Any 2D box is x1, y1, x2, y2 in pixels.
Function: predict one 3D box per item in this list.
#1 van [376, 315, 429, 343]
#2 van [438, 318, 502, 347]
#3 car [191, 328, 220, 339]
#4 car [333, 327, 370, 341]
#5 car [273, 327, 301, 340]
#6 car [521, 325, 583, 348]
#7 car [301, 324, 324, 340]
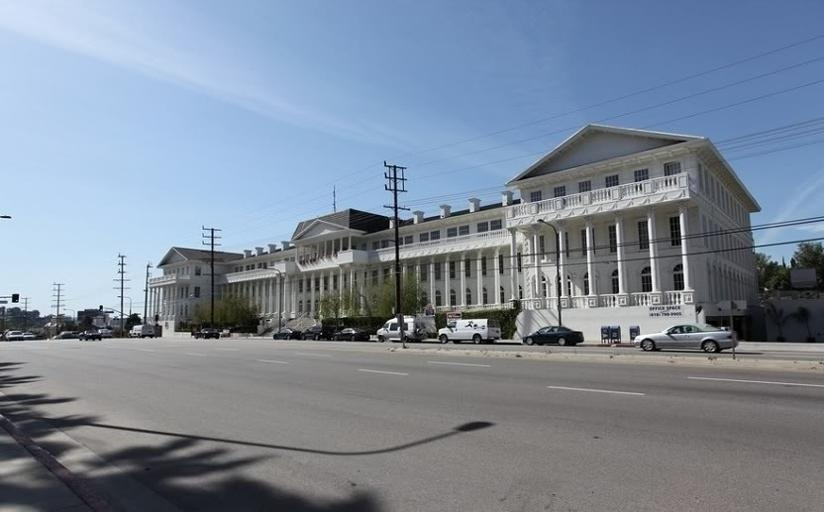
[{"bbox_3d":[-1.171,6.097,48.387,3.903,2.027,2.285,-4,-6,37],"label":"van"},{"bbox_3d":[4.500,5.823,44.428,4.037,1.502,2.044,-4,-10,39],"label":"van"},{"bbox_3d":[-25.863,9.838,73.750,1.682,0.838,2.894,5,-16,-36],"label":"car"},{"bbox_3d":[-5.580,7.333,53.890,2.837,0.951,1.320,-1,-7,34],"label":"car"},{"bbox_3d":[-13.351,8.434,62.323,3.094,1.053,1.436,-4,-8,41],"label":"car"},{"bbox_3d":[9.726,5.587,40.272,3.304,1.103,1.594,-3,-8,29],"label":"car"},{"bbox_3d":[-9.563,7.650,57.888,1.193,1.094,2.579,6,-8,-38],"label":"car"}]
